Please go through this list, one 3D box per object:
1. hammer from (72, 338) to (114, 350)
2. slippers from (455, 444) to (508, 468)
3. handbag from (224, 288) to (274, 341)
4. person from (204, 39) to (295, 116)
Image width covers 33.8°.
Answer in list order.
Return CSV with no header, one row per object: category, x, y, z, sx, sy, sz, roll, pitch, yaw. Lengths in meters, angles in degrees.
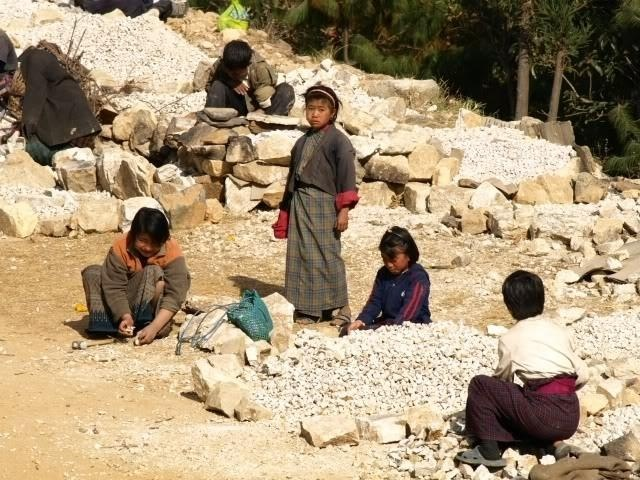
hammer,-2.024,0.911,9.277,0.368,0.060,0.219,4,11,-11
slippers,1.189,1.576,7.787,0.339,0.139,0.146,7,-8,9
handbag,-0.652,0.681,9.374,0.289,0.163,0.292,39,32,-27
person,-0.803,-1.903,12.679,1.105,0.887,0.943,3,11,-16
